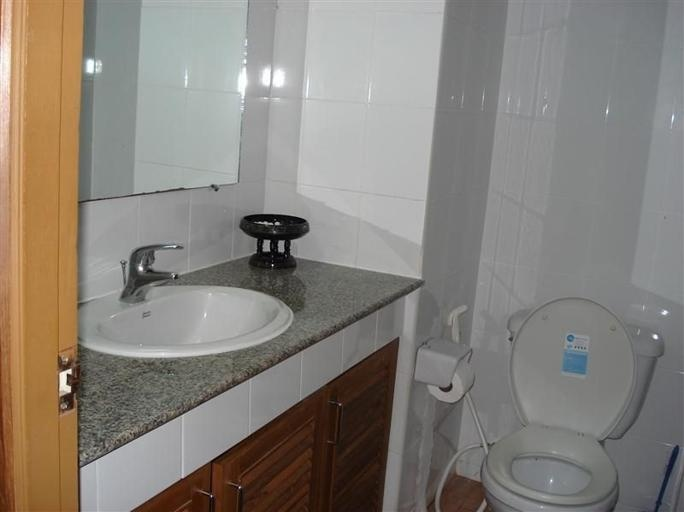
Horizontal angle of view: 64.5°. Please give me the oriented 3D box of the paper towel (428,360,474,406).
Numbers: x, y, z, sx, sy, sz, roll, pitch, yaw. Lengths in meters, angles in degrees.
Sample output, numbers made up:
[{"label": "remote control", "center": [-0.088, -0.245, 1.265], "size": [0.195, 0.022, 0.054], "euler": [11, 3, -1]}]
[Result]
[{"label": "paper towel", "center": [0.459, 0.533, 2.226], "size": [0.142, 0.147, 0.179], "euler": [-1, -10, 32]}]

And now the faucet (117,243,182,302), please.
[{"label": "faucet", "center": [-0.544, 0.047, 1.525], "size": [0.188, 0.197, 0.062], "euler": [10, 16, 17]}]
